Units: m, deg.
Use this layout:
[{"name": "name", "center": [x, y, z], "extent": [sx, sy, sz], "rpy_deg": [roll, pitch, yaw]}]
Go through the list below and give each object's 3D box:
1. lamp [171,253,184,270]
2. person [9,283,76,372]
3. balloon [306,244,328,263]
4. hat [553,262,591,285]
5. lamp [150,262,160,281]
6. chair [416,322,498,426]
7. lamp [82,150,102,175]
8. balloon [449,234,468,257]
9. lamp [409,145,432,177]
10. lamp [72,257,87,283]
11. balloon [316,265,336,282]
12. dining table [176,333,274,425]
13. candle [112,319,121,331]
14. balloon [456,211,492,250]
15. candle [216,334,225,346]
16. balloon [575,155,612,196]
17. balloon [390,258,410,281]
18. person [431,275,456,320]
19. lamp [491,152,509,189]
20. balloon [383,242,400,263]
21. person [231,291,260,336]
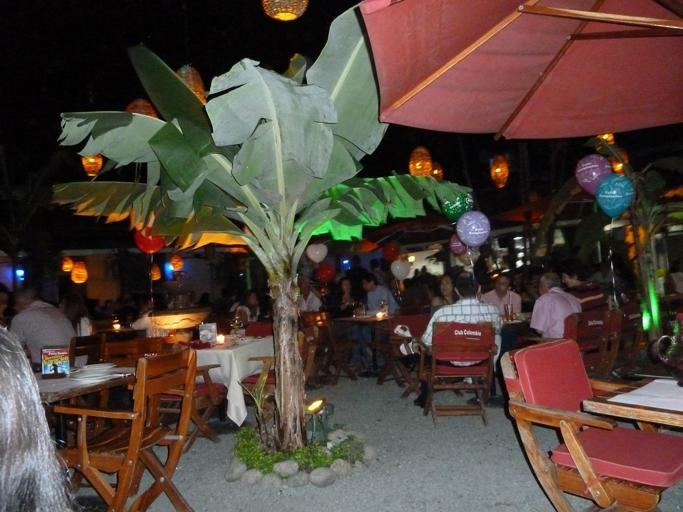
[{"name": "lamp", "center": [-4.542, 0.146, 13.781], "extent": [0.410, 0.361, 0.459], "rpy_deg": [7, 1, -44]}, {"name": "person", "center": [-4.166, 0.932, 6.806], "extent": [0.728, 1.316, 0.568], "rpy_deg": [9, 37, -29]}, {"name": "balloon", "center": [-0.621, -0.088, 10.994], "extent": [0.408, 0.500, 0.399], "rpy_deg": [3, 3, -40]}, {"name": "hat", "center": [3.139, 0.217, 6.841], "extent": [0.263, 0.355, 0.343], "rpy_deg": [-2, 13, -2]}, {"name": "lamp", "center": [-5.898, 0.501, 15.971], "extent": [0.219, 0.518, 2.113], "rpy_deg": [-4, 0, -22]}, {"name": "chair", "center": [1.495, 1.493, 6.636], "extent": [1.167, 1.581, 1.199], "rpy_deg": [0, -4, 1]}, {"name": "lamp", "center": [-4.045, -1.470, 8.168], "extent": [0.265, 0.275, 0.667], "rpy_deg": [-3, 1, -24]}, {"name": "balloon", "center": [2.223, -0.220, 9.592], "extent": [0.391, 0.406, 0.392], "rpy_deg": [3, -4, 17]}, {"name": "lamp", "center": [1.362, -1.671, 8.672], "extent": [0.385, 0.663, 1.043], "rpy_deg": [-2, 1, 9]}, {"name": "lamp", "center": [-6.810, 0.386, 13.025], "extent": [0.292, 0.415, 0.652], "rpy_deg": [-3, 1, -24]}, {"name": "balloon", "center": [-0.419, 0.437, 12.929], "extent": [0.409, 0.411, 0.489], "rpy_deg": [15, -41, -4]}, {"name": "dining table", "center": [-1.275, 1.463, 6.568], "extent": [1.274, 0.681, 1.044], "rpy_deg": [-7, -11, 32]}, {"name": "candle", "center": [-4.795, 1.458, 10.681], "extent": [0.130, 0.158, 0.181], "rpy_deg": [15, -21, 2]}, {"name": "balloon", "center": [2.085, -0.428, 8.143], "extent": [0.526, 0.627, 0.513], "rpy_deg": [-1, 9, -15]}, {"name": "candle", "center": [-1.690, 1.171, 7.020], "extent": [0.114, 0.125, 0.114], "rpy_deg": [5, -10, -25]}, {"name": "balloon", "center": [3.832, -1.251, 7.729], "extent": [0.561, 0.698, 0.572], "rpy_deg": [-10, 4, 15]}, {"name": "balloon", "center": [1.293, 0.302, 11.372], "extent": [0.437, 0.476, 0.426], "rpy_deg": [-5, 0, -6]}, {"name": "person", "center": [1.770, 0.722, 8.755], "extent": [0.685, 0.787, 0.449], "rpy_deg": [-1, -4, 15]}, {"name": "lamp", "center": [2.957, -1.633, 9.370], "extent": [0.288, 0.571, 1.119], "rpy_deg": [-2, 1, 17]}, {"name": "balloon", "center": [1.377, -0.084, 13.163], "extent": [0.444, 0.528, 0.458], "rpy_deg": [3, 3, 15]}, {"name": "person", "center": [-1.920, 1.077, 9.692], "extent": [0.627, 1.070, 0.904], "rpy_deg": [0, -6, -7]}]
